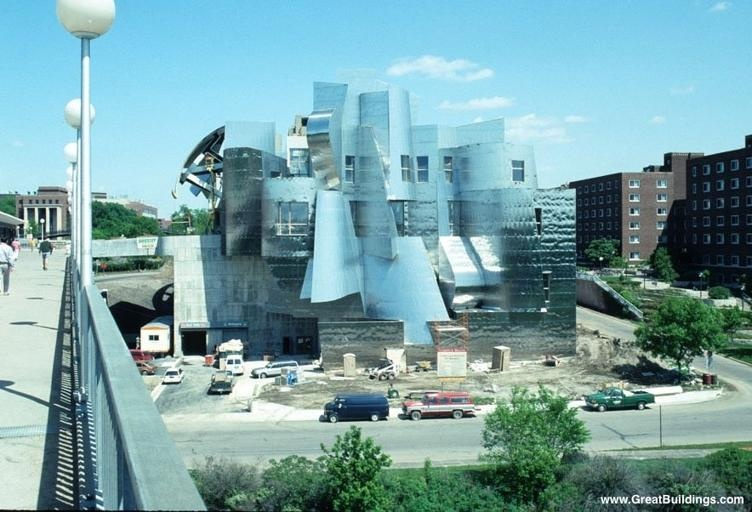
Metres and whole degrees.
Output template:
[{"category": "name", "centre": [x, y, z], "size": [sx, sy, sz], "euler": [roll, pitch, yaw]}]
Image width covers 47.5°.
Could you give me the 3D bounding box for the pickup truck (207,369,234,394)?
[{"category": "pickup truck", "centre": [-12.705, 10.436, 70.673], "size": [1.498, 0.934, 2.888], "euler": [1, 0, -5]}]

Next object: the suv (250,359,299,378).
[{"category": "suv", "centre": [-8.835, 9.852, 74.679], "size": [3.506, 1.121, 1.641], "euler": [1, -2, -13]}]

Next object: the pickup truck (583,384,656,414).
[{"category": "pickup truck", "centre": [18.722, 11.074, 65.923], "size": [5.023, 1.551, 1.140], "euler": [-2, 2, -8]}]

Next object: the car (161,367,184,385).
[{"category": "car", "centre": [-17.112, 10.143, 72.490], "size": [1.585, 1.229, 1.873], "euler": [-1, 2, 6]}]

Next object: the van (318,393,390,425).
[{"category": "van", "centre": [-1.388, 11.238, 63.154], "size": [4.599, 1.872, 1.028], "euler": [-1, 2, -3]}]
